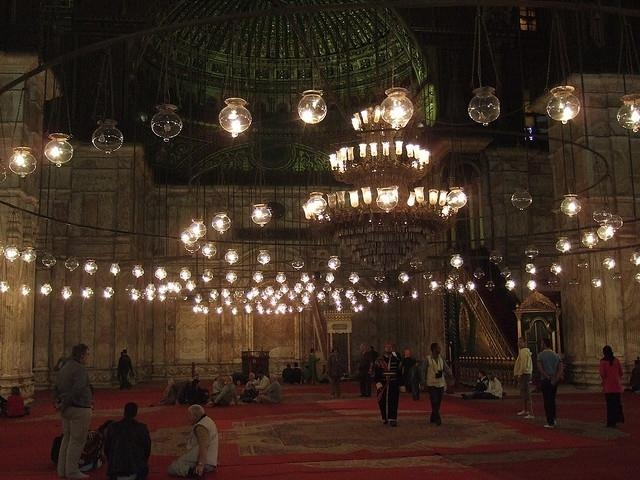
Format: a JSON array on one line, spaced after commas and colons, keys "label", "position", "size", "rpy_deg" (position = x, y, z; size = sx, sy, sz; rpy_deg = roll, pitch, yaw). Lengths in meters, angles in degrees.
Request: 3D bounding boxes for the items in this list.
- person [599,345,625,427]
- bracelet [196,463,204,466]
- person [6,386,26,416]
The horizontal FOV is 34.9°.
[{"label": "person", "position": [7.591, 3.864, 26.397], "size": [0.538, 2.114, 0.655], "rpy_deg": [-3, -8, 16]}, {"label": "bracelet", "position": [-2.676, 5.170, 22.990], "size": [0.119, 0.081, 0.184], "rpy_deg": [-1, -8, 0]}, {"label": "person", "position": [-8.840, 4.779, 29.509], "size": [0.636, 0.959, 0.573], "rpy_deg": [5, -23, -22]}]
